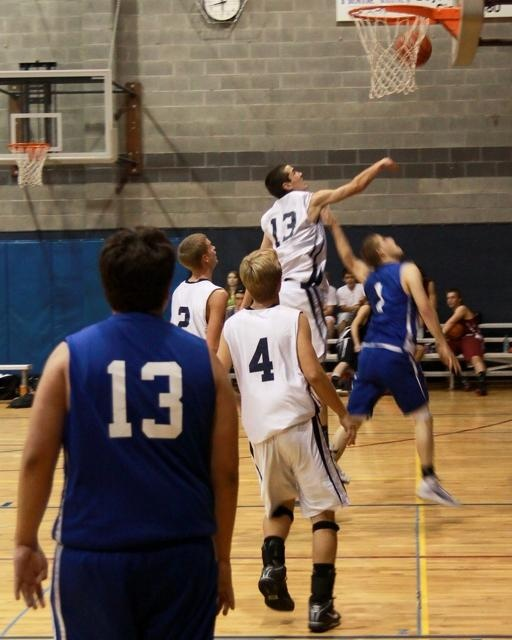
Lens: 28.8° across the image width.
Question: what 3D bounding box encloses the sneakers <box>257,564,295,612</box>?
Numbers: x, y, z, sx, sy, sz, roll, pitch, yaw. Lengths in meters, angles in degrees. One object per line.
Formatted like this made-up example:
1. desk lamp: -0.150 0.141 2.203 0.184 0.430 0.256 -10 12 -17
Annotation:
1. sneakers: 0.092 1.094 4.132 0.087 0.222 0.152 -15 32 26

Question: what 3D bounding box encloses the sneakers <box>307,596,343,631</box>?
1. sneakers: 0.263 1.167 3.968 0.066 0.115 0.171 0 -5 29

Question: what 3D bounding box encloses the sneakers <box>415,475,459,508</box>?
1. sneakers: 0.982 0.924 5.376 0.201 0.220 0.308 1 5 23
